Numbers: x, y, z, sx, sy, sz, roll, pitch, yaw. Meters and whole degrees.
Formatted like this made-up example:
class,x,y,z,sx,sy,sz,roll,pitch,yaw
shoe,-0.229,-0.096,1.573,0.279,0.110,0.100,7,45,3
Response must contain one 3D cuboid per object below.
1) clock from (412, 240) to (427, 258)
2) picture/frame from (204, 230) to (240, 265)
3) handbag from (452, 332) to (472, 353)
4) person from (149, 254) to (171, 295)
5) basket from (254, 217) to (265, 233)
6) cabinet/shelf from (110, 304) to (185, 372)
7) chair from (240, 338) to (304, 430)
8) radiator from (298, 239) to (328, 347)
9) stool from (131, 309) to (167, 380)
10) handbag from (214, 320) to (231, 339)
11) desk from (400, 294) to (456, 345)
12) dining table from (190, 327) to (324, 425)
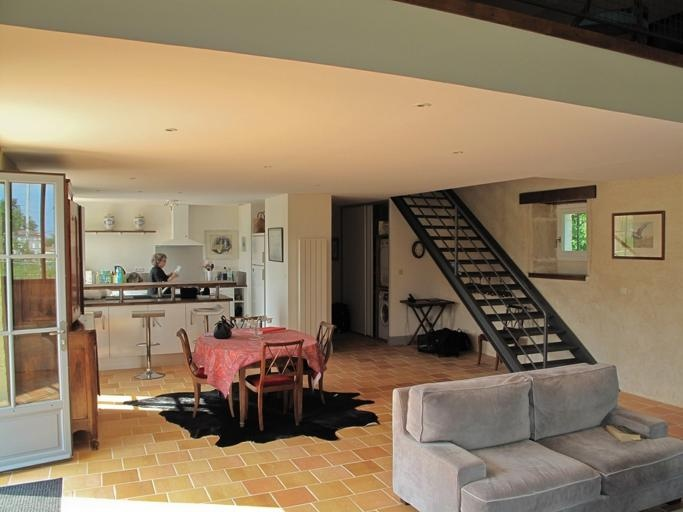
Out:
class,x,y,z,sx,sy,sz,roll,pitch,yaw
clock,1.440,-0.149,10.142,0.376,0.387,0.059,1,0,-28
picture/frame,-2.861,-0.222,12.808,0.935,0.897,0.069,-1,1,-24
handbag,2.099,1.525,9.544,0.108,0.302,0.419,-5,-5,42
person,-3.109,0.305,9.240,0.324,0.680,0.896,-2,5,-19
basket,-1.706,-0.633,11.255,0.162,0.292,0.808,-1,4,-13
cabinet/shelf,-3.018,1.249,8.293,1.157,0.882,0.357,0,-1,-25
chair,-0.777,1.399,5.971,0.711,1.019,0.560,0,5,-5
radiator,-0.473,0.551,9.191,0.607,1.677,0.144,10,-17,-37
stool,-2.870,1.281,8.095,0.419,0.979,0.829,-2,5,-19
handbag,-1.402,0.896,6.541,0.210,0.264,0.203,-2,-6,-1
desk,1.671,1.242,10.434,1.041,0.889,1.003,-1,3,-21
dining table,-0.926,1.261,6.250,1.228,0.626,1.177,1,-1,-23
